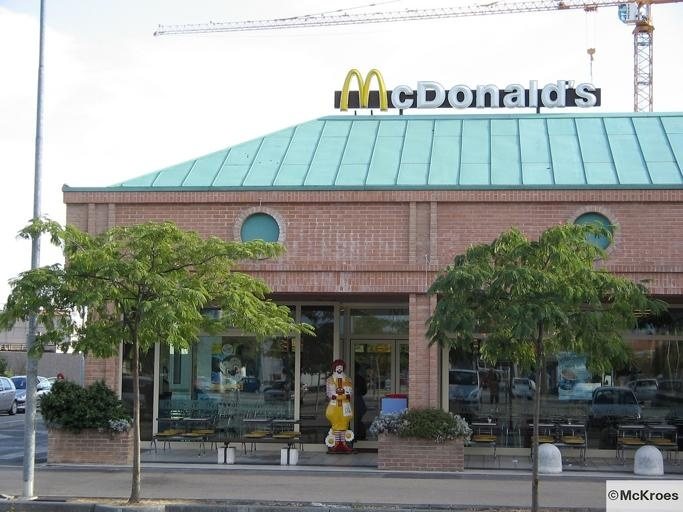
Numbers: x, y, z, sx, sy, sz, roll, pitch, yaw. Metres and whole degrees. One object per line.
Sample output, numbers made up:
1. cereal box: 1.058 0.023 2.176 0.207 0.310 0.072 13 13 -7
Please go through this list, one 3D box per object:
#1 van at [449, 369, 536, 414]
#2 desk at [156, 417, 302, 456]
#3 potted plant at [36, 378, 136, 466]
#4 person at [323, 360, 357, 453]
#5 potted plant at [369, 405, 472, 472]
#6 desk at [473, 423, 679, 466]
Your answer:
1. van: 3.987 3.621 32.964 1.763 0.929 1.302 1 -6 3
2. desk: -3.165 4.846 32.815 4.013 0.993 0.921 -1 -10 0
3. potted plant: -6.604 4.236 31.782 2.126 2.021 2.098 1 -2 0
4. person: -0.035 4.058 32.399 0.686 2.453 0.797 -1 -10 1
5. potted plant: 2.215 4.539 30.523 1.656 1.178 1.753 -1 -4 14
6. desk: 6.306 4.828 31.289 5.712 1.164 2.097 -1 -11 3
